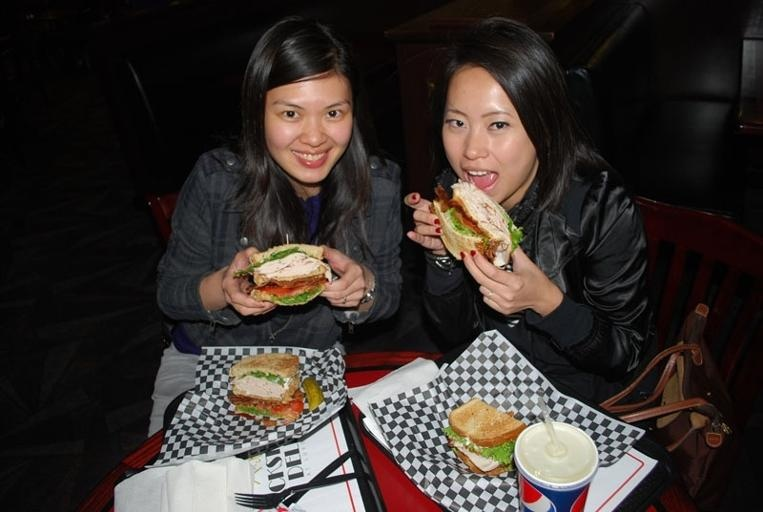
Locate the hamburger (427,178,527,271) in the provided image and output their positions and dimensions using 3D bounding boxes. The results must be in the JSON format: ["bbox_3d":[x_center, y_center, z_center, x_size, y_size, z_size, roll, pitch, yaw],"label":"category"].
[{"bbox_3d":[0.595,-0.152,2.867,0.418,0.584,0.273,-35,-13,7],"label":"hamburger"}]

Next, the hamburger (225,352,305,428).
[{"bbox_3d":[-0.664,0.704,2.624,0.140,0.423,0.471,-22,-20,36],"label":"hamburger"}]

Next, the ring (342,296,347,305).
[{"bbox_3d":[-0.226,0.262,2.812,0.035,0.047,0.014,-5,26,-10],"label":"ring"}]

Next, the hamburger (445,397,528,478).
[{"bbox_3d":[0.509,0.901,2.345,0.352,0.150,0.305,26,48,25],"label":"hamburger"}]

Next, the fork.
[{"bbox_3d":[-0.360,1.083,2.160,0.546,0.080,0.081,-8,22,0],"label":"fork"}]
